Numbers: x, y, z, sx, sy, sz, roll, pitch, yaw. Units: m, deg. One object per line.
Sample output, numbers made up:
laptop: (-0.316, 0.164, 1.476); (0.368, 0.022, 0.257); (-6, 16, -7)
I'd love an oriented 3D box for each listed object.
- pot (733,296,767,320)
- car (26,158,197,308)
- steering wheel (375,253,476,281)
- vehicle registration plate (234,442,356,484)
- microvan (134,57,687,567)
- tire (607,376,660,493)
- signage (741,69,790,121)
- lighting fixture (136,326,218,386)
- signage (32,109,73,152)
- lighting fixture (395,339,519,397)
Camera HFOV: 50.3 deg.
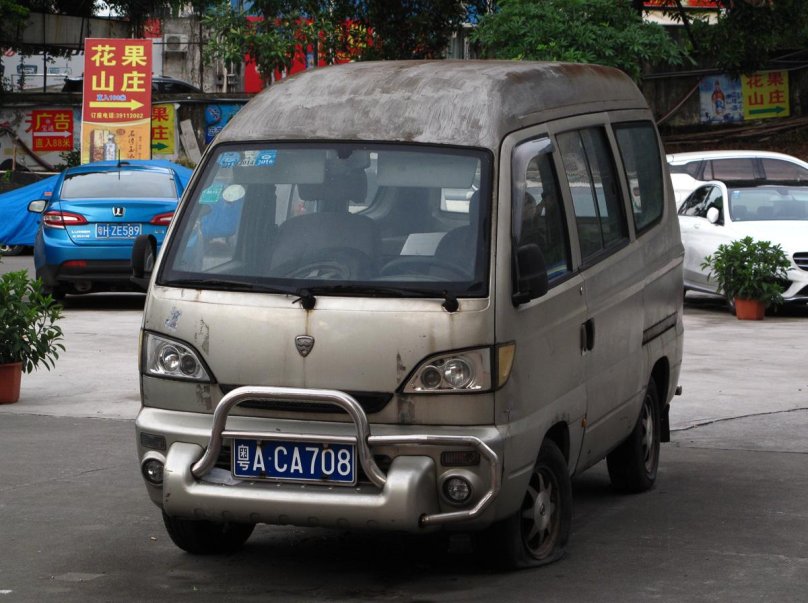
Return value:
pot: (5.567, 0.097, 13.720); (0.348, 0.299, 0.374); (0, 2, 0)
car: (-4.747, -1.117, 14.871); (2.363, 1.909, 3.793); (0, 11, -2)
steering wheel: (0.084, -0.152, 4.019); (0.225, 0.093, 0.199); (2, 2, -39)
vehicle registration plate: (-0.503, 0.705, 3.816); (0.539, 0.194, 0.037); (2, -19, 8)
microvan: (0.303, -0.209, 5.159); (1.931, 2.237, 3.485); (2, 7, 20)
tire: (1.504, 0.872, 5.658); (0.228, 0.788, 0.727); (-3, 7, 26)
signage: (11.262, -6.423, 26.577); (1.246, 1.436, 0.131); (7, 12, 7)
lighting fixture: (-1.097, 0.281, 4.087); (0.282, 0.125, 0.228); (15, 10, -10)
signage: (-12.513, -6.136, 30.572); (1.247, 1.492, 0.138); (3, 2, -5)
lighting fixture: (0.255, 0.309, 3.810); (0.302, 0.148, 0.248); (-9, 1, 8)
